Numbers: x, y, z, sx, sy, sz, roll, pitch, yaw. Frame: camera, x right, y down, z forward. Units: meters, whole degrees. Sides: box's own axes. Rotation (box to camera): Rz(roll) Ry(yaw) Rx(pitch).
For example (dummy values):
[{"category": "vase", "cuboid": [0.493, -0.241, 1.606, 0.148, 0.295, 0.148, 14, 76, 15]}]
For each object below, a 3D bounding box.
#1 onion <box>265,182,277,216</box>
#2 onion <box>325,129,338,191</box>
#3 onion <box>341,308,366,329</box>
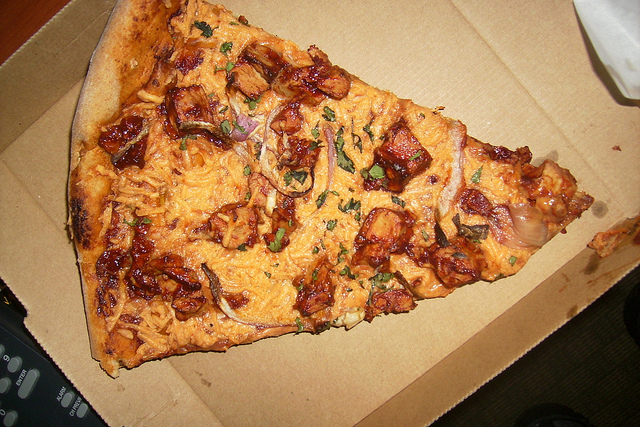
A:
[{"category": "onion", "cuboid": [-0.386, -0.103, 5.022, 0.053, 0.289, 0.065, 10, -11, -1]}, {"category": "onion", "cuboid": [0.087, -0.428, 5.063, 0.096, 0.454, 0.116, -1, 15, -11]}, {"category": "onion", "cuboid": [0.265, 0.835, 5.118, 0.124, 0.167, 0.055, 52, 9, 26]}]
